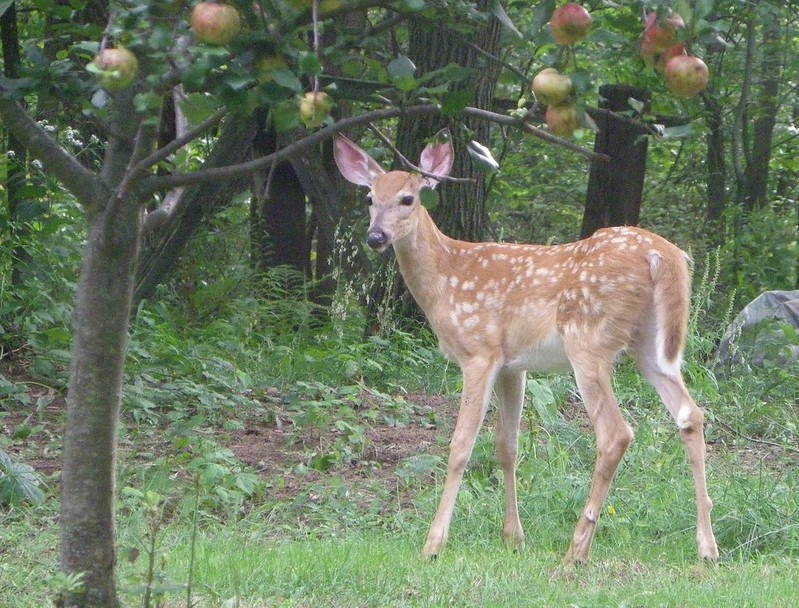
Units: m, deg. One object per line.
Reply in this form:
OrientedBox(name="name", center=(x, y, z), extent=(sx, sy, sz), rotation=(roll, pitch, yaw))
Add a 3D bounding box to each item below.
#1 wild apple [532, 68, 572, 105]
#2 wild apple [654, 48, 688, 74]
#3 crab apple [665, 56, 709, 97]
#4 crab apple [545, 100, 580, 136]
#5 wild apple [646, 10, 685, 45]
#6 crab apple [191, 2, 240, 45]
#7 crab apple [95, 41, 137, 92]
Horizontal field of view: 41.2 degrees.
OrientedBox(name="wild apple", center=(0.552, -0.783, 3.836), extent=(0.122, 0.123, 0.123), rotation=(14, -18, 14))
OrientedBox(name="wild apple", center=(0.985, -0.880, 3.857), extent=(0.075, 0.081, 0.093), rotation=(10, 21, 37))
OrientedBox(name="crab apple", center=(1.036, -0.822, 3.836), extent=(0.155, 0.158, 0.163), rotation=(10, 25, 22))
OrientedBox(name="crab apple", center=(0.588, -0.672, 3.860), extent=(0.108, 0.117, 0.133), rotation=(-1, 21, 12))
OrientedBox(name="wild apple", center=(0.948, -0.975, 3.830), extent=(0.118, 0.121, 0.112), rotation=(-13, -5, -41))
OrientedBox(name="crab apple", center=(-0.626, -0.946, 3.600), extent=(0.137, 0.141, 0.141), rotation=(2, 8, -7))
OrientedBox(name="crab apple", center=(-0.979, -0.818, 3.680), extent=(0.132, 0.138, 0.138), rotation=(1, 19, -21))
